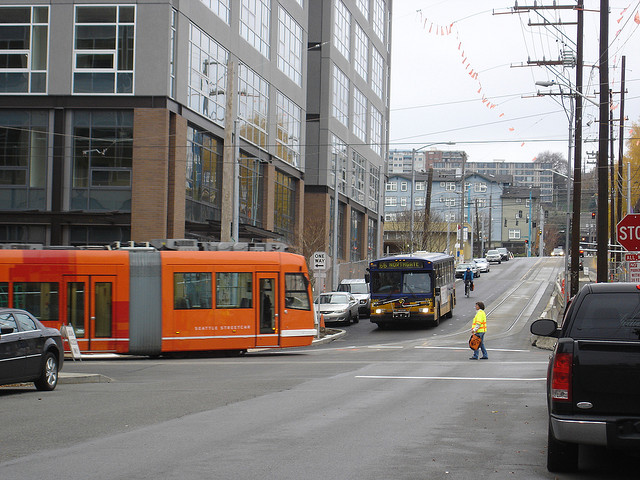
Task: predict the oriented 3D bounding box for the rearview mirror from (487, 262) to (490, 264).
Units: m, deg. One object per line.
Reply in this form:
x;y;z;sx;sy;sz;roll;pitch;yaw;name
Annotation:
18.911;2.570;90.183;0.287;0.340;0.568;2;0;14;rearview mirror

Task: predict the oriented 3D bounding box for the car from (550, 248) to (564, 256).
36.984;1.539;124.724;1.507;1.198;1.613;-2;-4;23;car

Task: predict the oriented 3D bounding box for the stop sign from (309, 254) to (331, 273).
-0.019;1.156;39.541;1.063;1.257;0.059;1;12;5;stop sign

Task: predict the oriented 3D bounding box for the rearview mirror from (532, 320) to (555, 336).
3.149;1.261;11.528;0.306;0.226;0.449;-3;-3;43;rearview mirror

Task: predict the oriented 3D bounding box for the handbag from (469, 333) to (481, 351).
4.965;3.239;25.601;0.328;0.514;0.158;8;-9;22;handbag

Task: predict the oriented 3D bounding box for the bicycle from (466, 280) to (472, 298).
10.625;3.376;57.229;0.122;1.059;0.515;-2;-2;38;bicycle

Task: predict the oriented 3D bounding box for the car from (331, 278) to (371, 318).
2.296;3.253;47.961;1.454;1.509;3.082;-1;-7;10;car

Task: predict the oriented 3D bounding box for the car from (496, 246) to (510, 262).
25.679;1.992;112.573;1.613;1.598;3.626;-3;-9;8;car

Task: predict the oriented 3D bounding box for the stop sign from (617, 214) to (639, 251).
7.978;-0.188;20.772;0.537;0.940;0.445;-1;-2;18;stop sign
